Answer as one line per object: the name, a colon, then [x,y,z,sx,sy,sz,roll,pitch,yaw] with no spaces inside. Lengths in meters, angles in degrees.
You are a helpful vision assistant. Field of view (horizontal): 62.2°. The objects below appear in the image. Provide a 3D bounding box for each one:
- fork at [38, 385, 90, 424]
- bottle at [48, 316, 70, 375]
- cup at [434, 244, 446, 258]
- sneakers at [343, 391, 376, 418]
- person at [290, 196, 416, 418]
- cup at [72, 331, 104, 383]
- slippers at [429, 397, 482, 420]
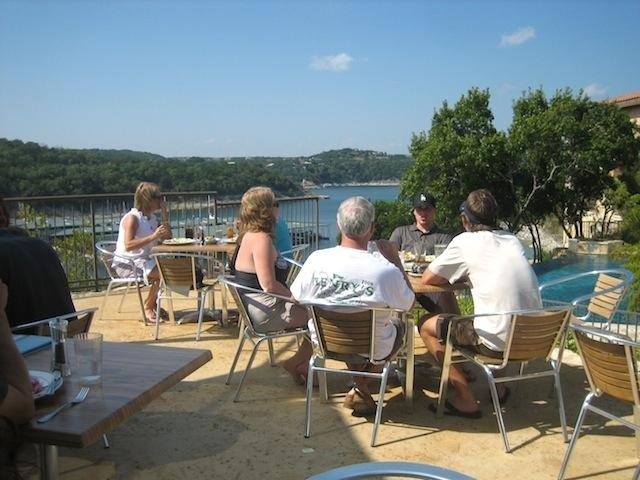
fork: [-1.092,0.691,2.318,0.048,0.048,0.313,0,12,13]
bottle: [-1.265,0.516,2.587,0.076,0.261,0.144,-4,6,-28]
cup: [1.053,0.093,4.666,0.112,0.137,0.116,-1,5,0]
sneakers: [0.283,1.203,3.914,0.134,0.164,0.244,3,3,37]
person: [0.235,0.501,3.785,0.839,1.616,0.473,0,6,9]
cup: [-1.087,0.553,2.495,0.116,0.229,0.139,-3,6,-22]
slippers: [1.006,1.273,3.992,0.365,0.109,0.137,5,7,24]
